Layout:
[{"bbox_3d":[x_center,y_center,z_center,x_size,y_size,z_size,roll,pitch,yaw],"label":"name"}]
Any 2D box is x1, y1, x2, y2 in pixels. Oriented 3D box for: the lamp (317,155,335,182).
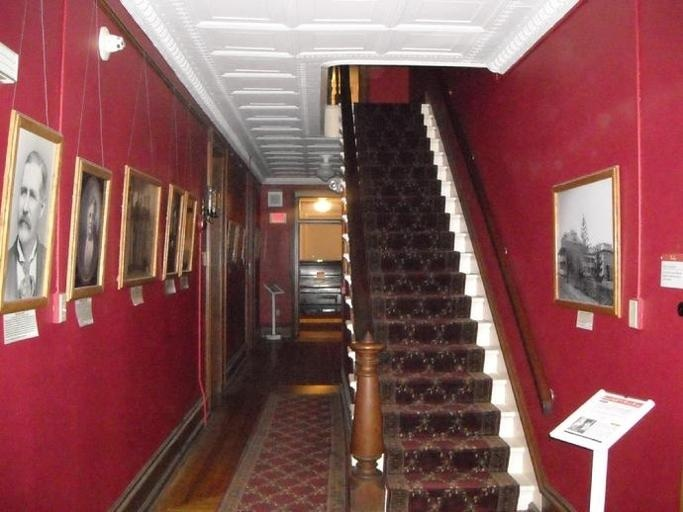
[{"bbox_3d":[-0.281,-1.584,8.840,0.304,0.471,0.322,0,-1,-2],"label":"lamp"}]
